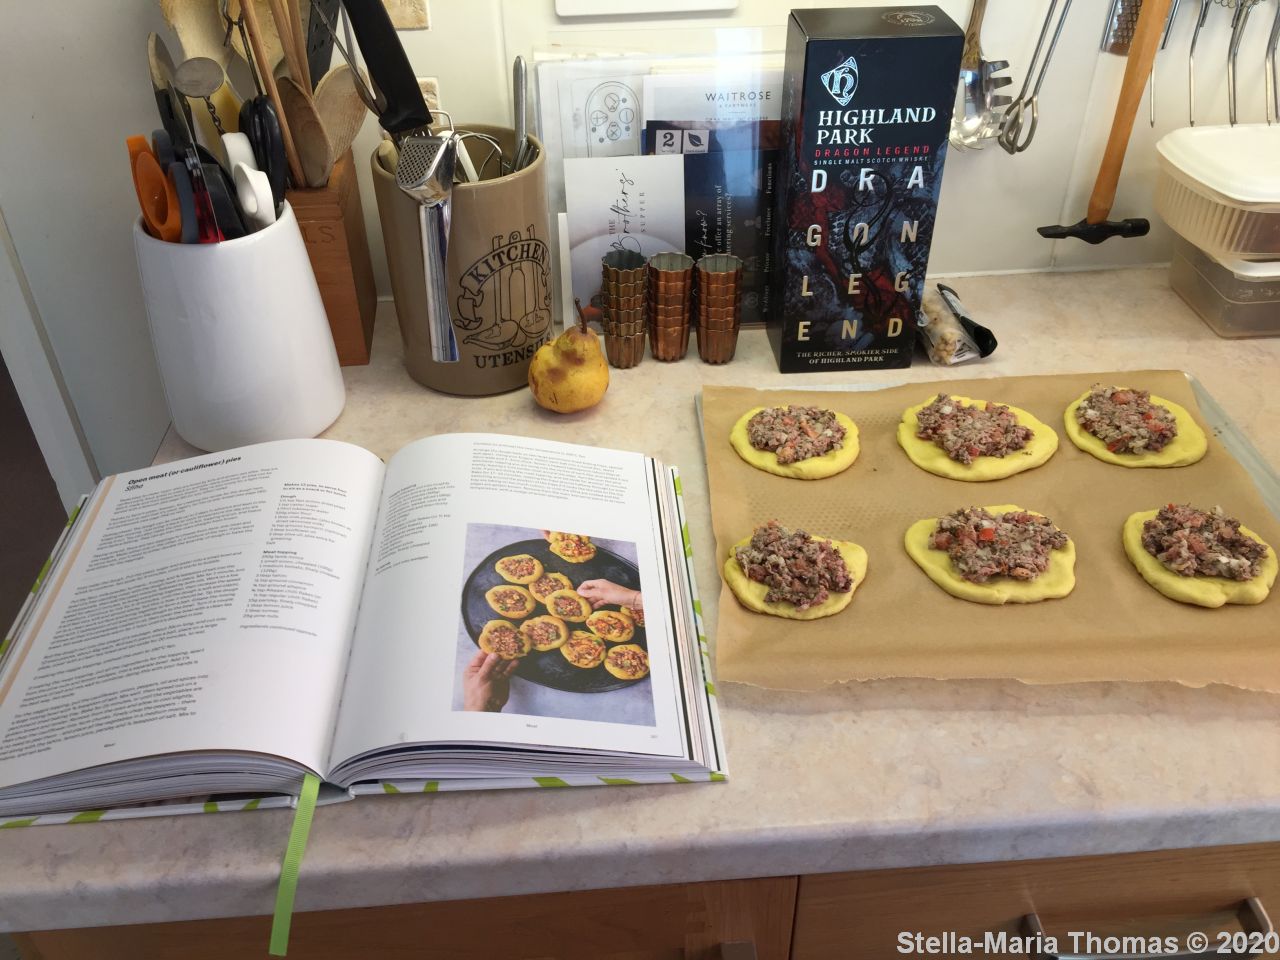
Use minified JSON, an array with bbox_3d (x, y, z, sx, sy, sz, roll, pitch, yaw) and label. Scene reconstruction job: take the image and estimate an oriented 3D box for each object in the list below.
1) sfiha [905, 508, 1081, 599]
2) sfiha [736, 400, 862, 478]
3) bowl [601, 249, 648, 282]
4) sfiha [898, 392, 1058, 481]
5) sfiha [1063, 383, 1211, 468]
[{"bbox_3d":[0.340,0.082,0.829,0.161,0.023,0.094,8,38,13],"label":"sfiha"},{"bbox_3d":[0.172,-0.041,0.953,0.141,0.034,0.103,2,37,4],"label":"sfiha"},{"bbox_3d":[-0.025,-0.263,1.046,0.050,0.034,0.050,0,48,0],"label":"bowl"},{"bbox_3d":[0.380,-0.049,0.952,0.177,0.043,0.116,-4,37,-3],"label":"sfiha"},{"bbox_3d":[0.553,-0.057,0.953,0.144,0.037,0.112,6,37,10],"label":"sfiha"}]
